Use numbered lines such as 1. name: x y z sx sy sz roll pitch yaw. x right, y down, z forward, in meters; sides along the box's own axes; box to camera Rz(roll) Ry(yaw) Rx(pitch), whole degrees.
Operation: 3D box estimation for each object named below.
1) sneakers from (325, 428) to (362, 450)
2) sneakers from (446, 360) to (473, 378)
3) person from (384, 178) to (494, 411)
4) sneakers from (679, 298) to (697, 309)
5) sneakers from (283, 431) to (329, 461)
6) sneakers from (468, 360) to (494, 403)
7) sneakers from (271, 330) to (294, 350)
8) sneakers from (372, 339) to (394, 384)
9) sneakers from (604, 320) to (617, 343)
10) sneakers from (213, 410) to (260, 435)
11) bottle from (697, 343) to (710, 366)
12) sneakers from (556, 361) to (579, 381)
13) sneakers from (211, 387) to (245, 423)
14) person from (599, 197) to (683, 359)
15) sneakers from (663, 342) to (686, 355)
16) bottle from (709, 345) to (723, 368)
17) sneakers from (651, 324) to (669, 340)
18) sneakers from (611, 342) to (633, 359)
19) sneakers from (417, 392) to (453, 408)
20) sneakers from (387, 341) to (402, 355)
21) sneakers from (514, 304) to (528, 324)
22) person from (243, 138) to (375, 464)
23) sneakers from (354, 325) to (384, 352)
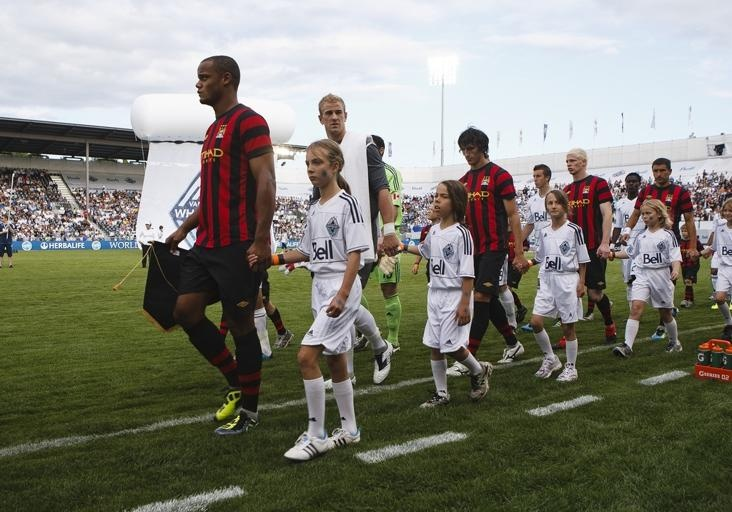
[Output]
1. sneakers: -0.170 1.296 3.792 0.251 0.099 0.091 5 -15 -23
2. sneakers: 0.978 1.176 5.575 0.349 0.158 0.133 11 -16 -34
3. person: 0.752 0.294 4.610 0.594 1.904 0.540 -1 5 10
4. sneakers: 5.773 0.850 9.682 0.447 0.183 0.147 5 -9 -35
5. sneakers: -0.400 1.287 3.623 0.330 0.127 0.117 4 -17 -44
6. sneakers: 0.988 1.092 4.717 0.201 0.406 0.143 5 -3 -22
7. sneakers: -1.033 1.027 6.612 0.159 0.295 0.106 46 -27 -17
8. sneakers: 0.131 1.035 5.302 0.143 0.428 0.180 -8 -31 44
9. sneakers: 3.087 0.959 6.790 0.105 0.212 0.317 -22 14 41
10. sneakers: -0.980 1.242 4.051 0.332 0.139 0.125 1 -3 -42
11. bottle: 3.290 0.945 5.214 0.104 0.179 0.195 1 6 32
12. sneakers: 1.969 1.138 5.245 0.113 0.133 0.317 -10 -12 32
13. sneakers: -1.096 1.191 4.325 0.120 0.151 0.364 -4 0 24
14. person: 3.305 0.225 6.145 0.563 1.746 0.831 1 5 31
15. sneakers: 3.561 1.075 6.197 0.294 0.121 0.098 0 -3 -31
16. bottle: 3.337 0.960 5.094 0.104 0.172 0.097 -2 5 0
17. sneakers: 3.800 0.998 6.978 0.126 0.163 0.363 -12 -13 42
18. sneakers: 2.845 1.041 5.955 0.196 0.151 0.171 0 5 16
19. sneakers: 0.576 1.216 4.520 0.277 0.117 0.099 2 -10 -18
20. sneakers: 0.347 1.049 6.127 0.118 0.146 0.323 -7 -17 19
21. sneakers: 2.369 0.893 8.244 0.157 0.345 0.116 38 -27 -28
22. person: -0.291 0.253 3.821 0.598 2.176 0.721 -2 5 0
23. sneakers: -0.006 0.920 6.439 0.235 0.455 0.157 22 24 5
